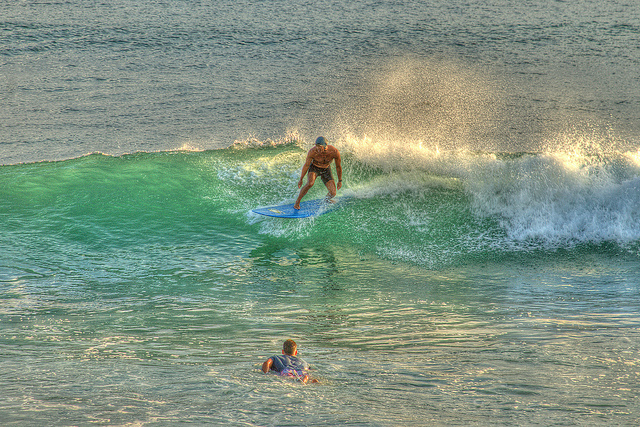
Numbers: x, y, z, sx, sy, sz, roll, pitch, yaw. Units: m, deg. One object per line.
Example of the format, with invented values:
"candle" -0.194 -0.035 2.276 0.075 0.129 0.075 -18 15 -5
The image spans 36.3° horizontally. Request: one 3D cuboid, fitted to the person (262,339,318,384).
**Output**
"person" -0.848 4.933 30.723 1.647 0.898 2.524 3 17 -15
